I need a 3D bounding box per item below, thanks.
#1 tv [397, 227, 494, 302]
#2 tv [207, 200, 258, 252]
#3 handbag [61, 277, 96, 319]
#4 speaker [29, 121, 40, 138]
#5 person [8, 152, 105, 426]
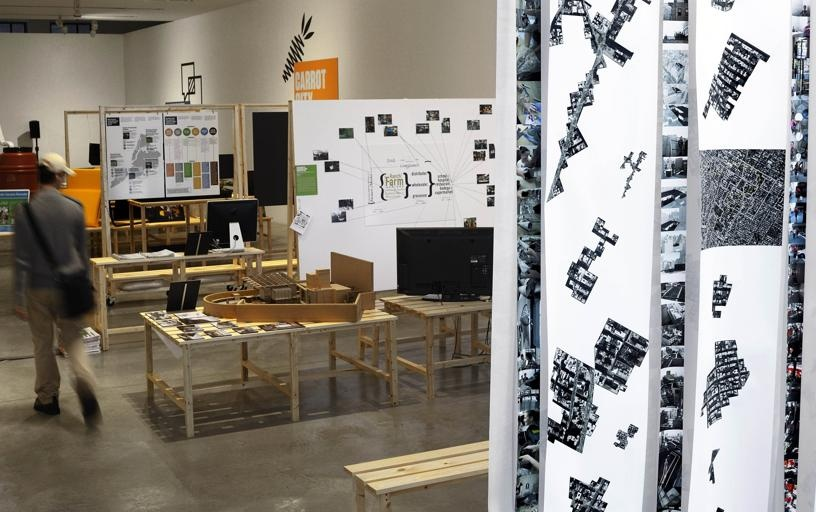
[{"bbox_3d":[0.342,0.048,6.380,0.717,0.485,0.207,1,13,0],"label":"tv"},{"bbox_3d":[-2.155,-0.384,8.351,0.583,0.528,0.291,-3,23,-17],"label":"tv"},{"bbox_3d":[-2.803,0.334,5.831,0.244,0.417,0.157,-6,14,-24],"label":"handbag"},{"bbox_3d":[-11.626,-3.965,21.441,0.299,0.570,0.969,-7,14,-28],"label":"speaker"},{"bbox_3d":[-3.027,0.309,5.912,0.583,2.338,0.742,-6,14,-24],"label":"person"}]
